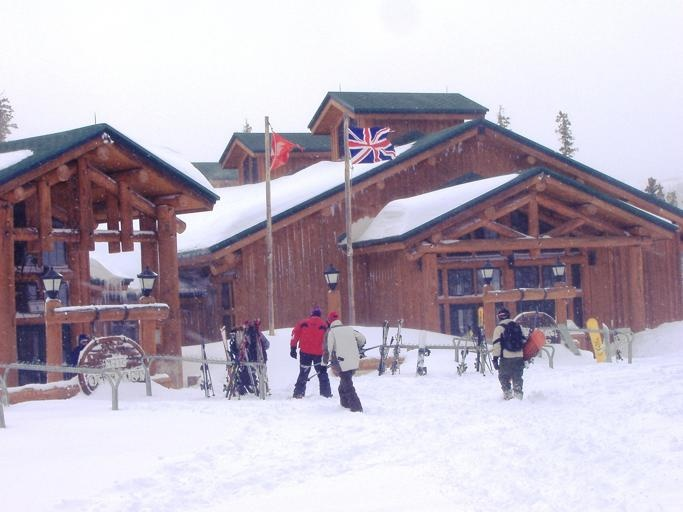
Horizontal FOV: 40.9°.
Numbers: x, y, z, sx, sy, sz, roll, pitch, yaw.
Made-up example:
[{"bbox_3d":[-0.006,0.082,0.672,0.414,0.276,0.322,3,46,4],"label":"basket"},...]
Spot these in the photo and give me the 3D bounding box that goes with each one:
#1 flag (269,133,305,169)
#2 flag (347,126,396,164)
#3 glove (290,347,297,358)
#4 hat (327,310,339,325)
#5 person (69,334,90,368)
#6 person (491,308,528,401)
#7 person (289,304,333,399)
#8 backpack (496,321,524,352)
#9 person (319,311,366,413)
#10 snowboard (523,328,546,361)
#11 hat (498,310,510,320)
[{"bbox_3d":[-1.797,-3.552,29.518,1.196,0.141,1.313,-22,-43,-21],"label":"flag"},{"bbox_3d":[1.040,-3.470,29.090,1.463,0.447,1.499,-42,-15,29],"label":"flag"},{"bbox_3d":[-1.090,2.199,20.767,0.131,0.245,0.229,2,6,5],"label":"glove"},{"bbox_3d":[-0.198,1.348,20.264,0.191,0.191,0.295,3,-6,-9],"label":"hat"},{"bbox_3d":[-6.103,2.142,21.116,0.193,0.803,0.556,17,5,13],"label":"person"},{"bbox_3d":[3.651,2.130,20.004,0.698,1.744,1.077,2,10,11],"label":"person"},{"bbox_3d":[-0.609,2.079,21.338,0.918,2.087,0.645,10,22,4],"label":"person"},{"bbox_3d":[3.687,1.781,20.154,0.428,0.639,0.339,7,-33,-14],"label":"backpack"},{"bbox_3d":[0.051,2.299,19.878,0.873,1.985,1.428,0,9,0],"label":"person"},{"bbox_3d":[4.250,1.960,20.075,0.234,0.526,0.652,10,-38,0],"label":"snowboard"},{"bbox_3d":[3.590,1.292,20.328,0.230,0.231,0.206,4,1,36],"label":"hat"}]
